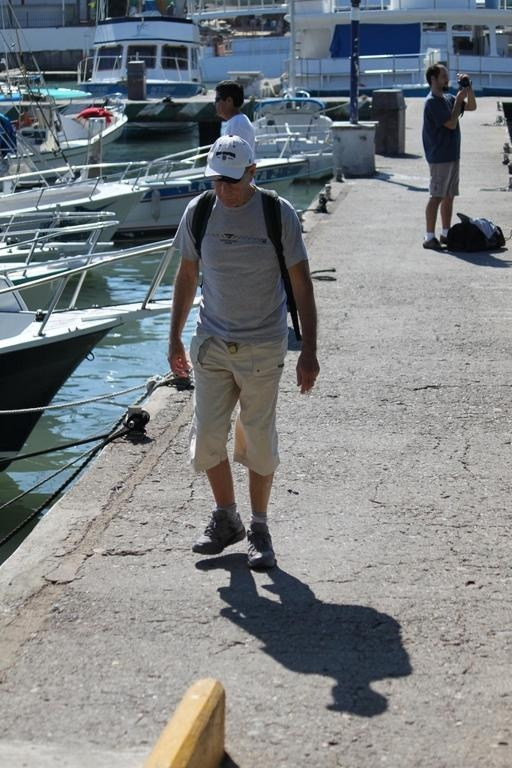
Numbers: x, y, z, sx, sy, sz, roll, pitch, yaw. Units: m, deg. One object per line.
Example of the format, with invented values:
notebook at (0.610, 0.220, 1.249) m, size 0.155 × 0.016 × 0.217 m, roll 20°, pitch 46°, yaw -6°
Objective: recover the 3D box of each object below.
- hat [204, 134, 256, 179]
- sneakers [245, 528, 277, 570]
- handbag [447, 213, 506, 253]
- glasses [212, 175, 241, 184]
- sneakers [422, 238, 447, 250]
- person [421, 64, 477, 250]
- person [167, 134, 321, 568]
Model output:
hat at (-0.092, -0.819, 2.791) m, size 0.176 × 0.160 × 0.247 m, roll -2°, pitch 15°, yaw 0°
sneakers at (0.027, 0.648, 3.034) m, size 0.080 × 0.086 × 0.204 m, roll -1°, pitch 8°, yaw -3°
handbag at (2.698, -1.827, 9.343) m, size 0.447 × 0.343 × 0.643 m, roll 3°, pitch 7°, yaw 40°
glasses at (-0.102, -0.723, 2.730) m, size 0.091 × 0.027 × 0.056 m, roll -1°, pitch 15°, yaw 3°
sneakers at (2.186, -1.713, 9.390) m, size 0.242 × 0.092 × 0.126 m, roll -2°, pitch 24°, yaw -3°
person at (2.047, -2.541, 8.463) m, size 0.435 × 1.755 × 0.991 m, roll 1°, pitch 16°, yaw 11°
person at (-0.034, -0.105, 3.000) m, size 0.542 × 1.638 × 0.439 m, roll -2°, pitch 16°, yaw 1°
